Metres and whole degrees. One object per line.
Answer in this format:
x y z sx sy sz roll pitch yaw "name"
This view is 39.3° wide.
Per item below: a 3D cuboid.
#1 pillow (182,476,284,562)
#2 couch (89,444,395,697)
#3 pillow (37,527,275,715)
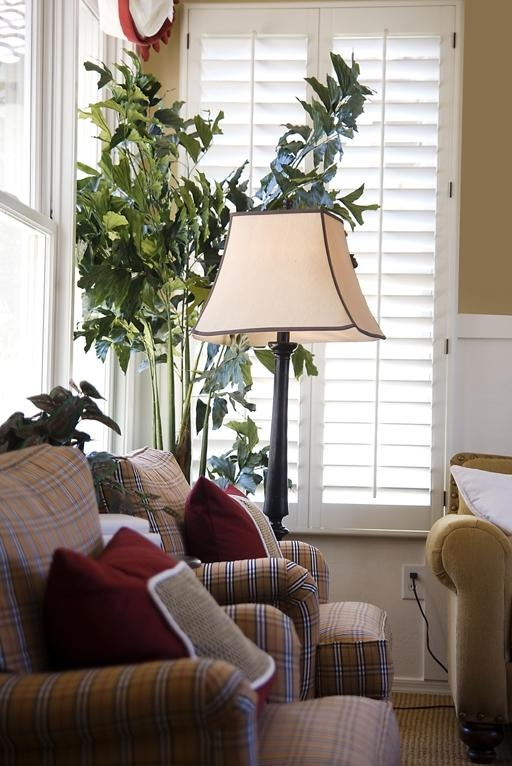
-0.037 0.330 1.586 0.148 0.227 0.260 -8 -6 10 "pillow"
0.085 0.442 1.550 0.461 0.422 0.472 1 -9 24 "couch"
-0.100 0.280 0.862 0.288 0.179 0.133 -1 3 -32 "pillow"
